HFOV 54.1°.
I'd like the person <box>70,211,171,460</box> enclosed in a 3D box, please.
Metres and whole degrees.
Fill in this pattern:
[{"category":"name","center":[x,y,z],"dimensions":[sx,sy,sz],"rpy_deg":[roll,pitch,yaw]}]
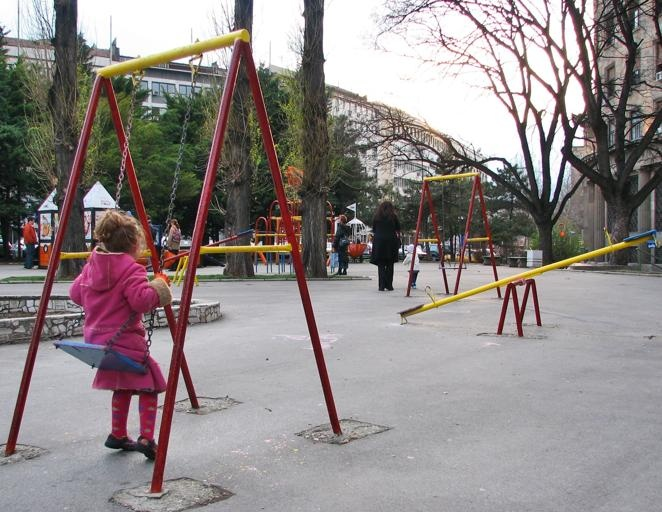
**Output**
[{"category":"person","center":[-1.429,0.543,4.491],"dimensions":[0.730,1.724,0.395],"rpy_deg":[1,3,20]}]

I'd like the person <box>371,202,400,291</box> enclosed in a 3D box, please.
[{"category":"person","center":[1.408,-0.240,16.148],"dimensions":[0.659,2.269,0.615],"rpy_deg":[2,-4,-24]}]
